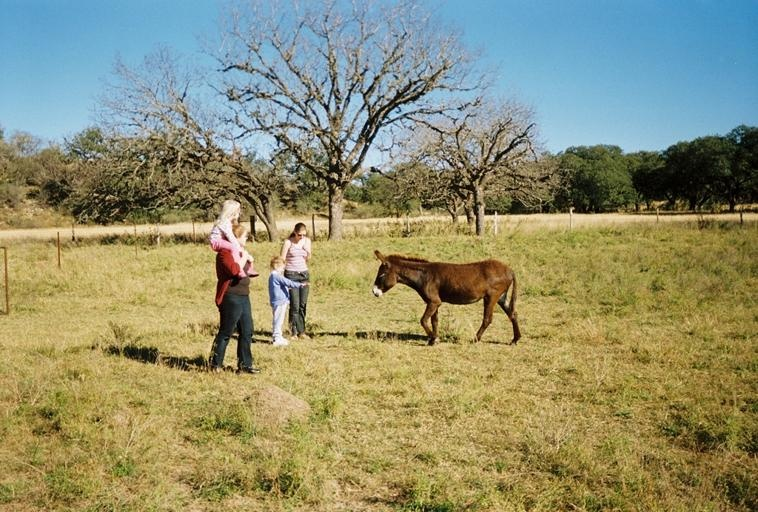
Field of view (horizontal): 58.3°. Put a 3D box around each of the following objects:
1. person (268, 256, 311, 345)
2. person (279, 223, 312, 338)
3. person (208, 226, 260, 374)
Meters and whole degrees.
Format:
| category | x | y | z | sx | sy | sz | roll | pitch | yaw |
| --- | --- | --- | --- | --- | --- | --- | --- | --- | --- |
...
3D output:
| category | x | y | z | sx | sy | sz | roll | pitch | yaw |
| --- | --- | --- | --- | --- | --- | --- | --- | --- | --- |
| person | -2.570 | 1.235 | 18.358 | 0.736 | 2.334 | 0.424 | -2 | 11 | -9 |
| person | -2.274 | 0.677 | 18.774 | 0.895 | 3.247 | 0.883 | 0 | 2 | -13 |
| person | -3.421 | 1.004 | 16.484 | 0.885 | 3.586 | 1.178 | 4 | 3 | 37 |
